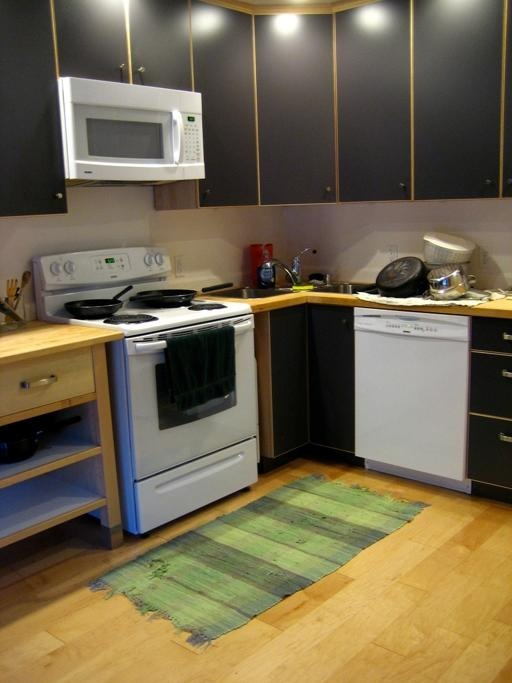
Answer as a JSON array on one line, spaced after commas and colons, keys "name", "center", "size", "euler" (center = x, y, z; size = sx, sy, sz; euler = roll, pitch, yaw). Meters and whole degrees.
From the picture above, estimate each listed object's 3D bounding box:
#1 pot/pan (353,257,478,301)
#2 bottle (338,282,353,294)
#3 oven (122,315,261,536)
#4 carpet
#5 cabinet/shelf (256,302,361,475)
[{"name": "pot/pan", "center": [0.723, -0.267, 2.333], "size": [0.221, 0.114, 0.367], "euler": [-46, 30, -21]}, {"name": "bottle", "center": [0.511, -0.301, 2.967], "size": [0.066, 0.043, 0.068], "euler": [0, 11, 0]}, {"name": "oven", "center": [-0.379, 0.275, 2.247], "size": [0.578, 0.826, 0.664], "euler": [7, 15, 42]}, {"name": "carpet", "center": [0.041, 0.724, 1.910], "size": [1.179, 0.049, 0.596], "euler": [-6, 6, -43]}, {"name": "cabinet/shelf", "center": [0.255, 0.231, 2.541], "size": [0.400, 0.819, 0.424], "euler": [2, 5, 45]}]
